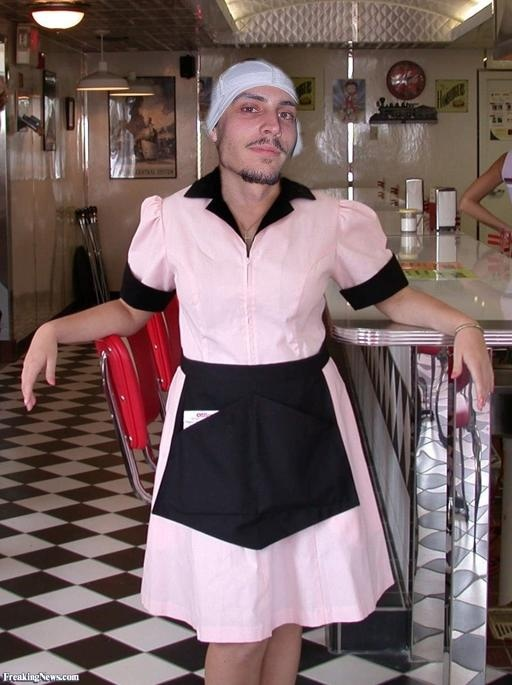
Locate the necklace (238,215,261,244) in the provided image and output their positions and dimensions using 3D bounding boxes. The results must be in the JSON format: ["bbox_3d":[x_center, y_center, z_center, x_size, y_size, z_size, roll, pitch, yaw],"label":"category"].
[{"bbox_3d":[-0.011,-0.175,0.849,0.026,0.027,0.052,-2,43,9],"label":"necklace"}]

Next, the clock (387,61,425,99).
[{"bbox_3d":[1.408,-2.464,5.080,0.323,0.359,0.082,0,7,-2],"label":"clock"}]

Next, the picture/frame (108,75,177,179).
[{"bbox_3d":[-1.790,-3.536,8.858,1.401,2.177,0.080,1,9,7],"label":"picture/frame"}]
